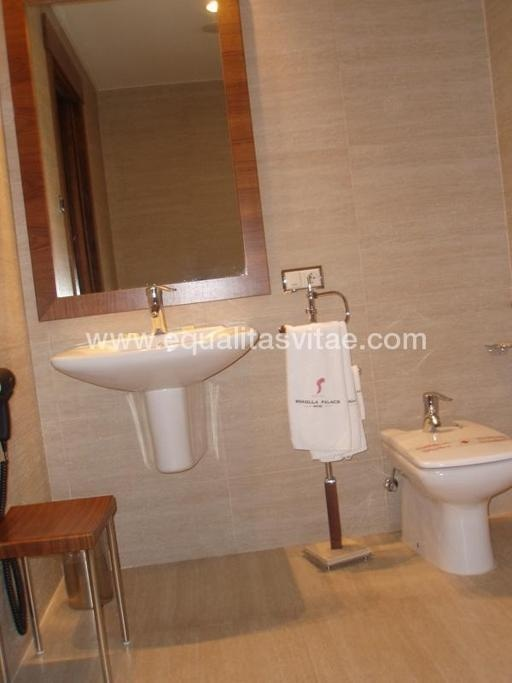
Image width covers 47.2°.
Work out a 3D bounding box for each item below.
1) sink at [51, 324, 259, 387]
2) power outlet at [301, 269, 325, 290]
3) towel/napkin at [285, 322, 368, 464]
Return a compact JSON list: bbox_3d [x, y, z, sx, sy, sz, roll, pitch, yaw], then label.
[{"bbox_3d":[-0.268,0.070,1.656,0.565,0.170,0.430,-5,5,14],"label":"sink"},{"bbox_3d":[0.204,-0.215,2.043,0.085,0.073,0.019,-8,7,-26],"label":"power outlet"},{"bbox_3d":[0.207,0.147,1.831,0.297,0.409,0.110,-4,2,14],"label":"towel/napkin"}]
